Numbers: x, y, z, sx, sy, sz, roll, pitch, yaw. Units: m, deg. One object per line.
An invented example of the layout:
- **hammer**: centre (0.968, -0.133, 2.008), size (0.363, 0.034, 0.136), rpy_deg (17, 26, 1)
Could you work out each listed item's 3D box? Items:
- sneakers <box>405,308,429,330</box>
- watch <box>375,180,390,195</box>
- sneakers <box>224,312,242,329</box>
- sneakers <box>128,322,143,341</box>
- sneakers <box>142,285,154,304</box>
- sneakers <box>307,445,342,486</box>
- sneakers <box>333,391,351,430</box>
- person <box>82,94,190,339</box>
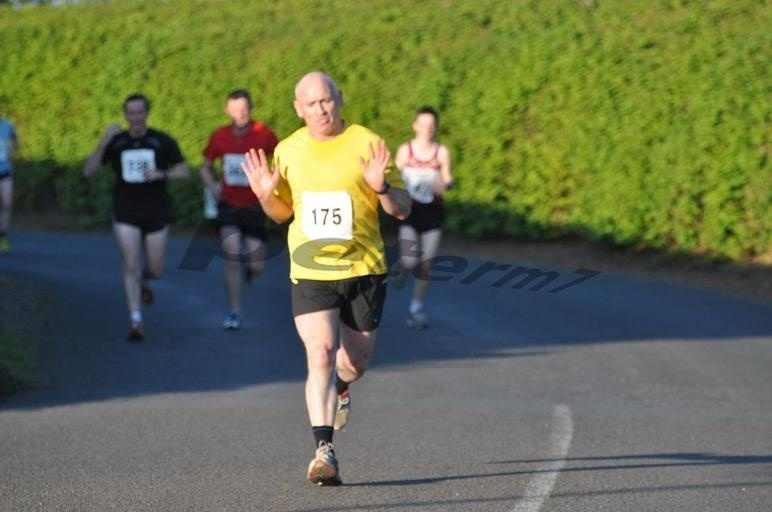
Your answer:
- **sneakers**: centre (0.354, 0.734, 9.958), size (0.236, 0.256, 0.187), rpy_deg (0, 2, -3)
- **watch**: centre (-0.014, -0.499, 6.485), size (0.071, 0.100, 0.043), rpy_deg (-2, 5, -15)
- **sneakers**: centre (-1.697, 0.737, 9.739), size (0.138, 0.080, 0.205), rpy_deg (5, 60, 1)
- **sneakers**: centre (-2.597, 0.790, 9.112), size (0.095, 0.284, 0.124), rpy_deg (3, 57, -9)
- **sneakers**: centre (-2.713, 0.438, 10.001), size (0.136, 0.196, 0.067), rpy_deg (-9, 18, -1)
- **sneakers**: centre (-0.447, 1.498, 6.580), size (0.226, 0.244, 0.499), rpy_deg (5, -11, 4)
- **sneakers**: centre (-0.367, 1.265, 7.187), size (0.107, 0.328, 0.138), rpy_deg (1, -2, -4)
- **person**: centre (-2.550, -0.379, 9.069), size (0.965, 2.479, 0.529), rpy_deg (-4, 13, -21)
